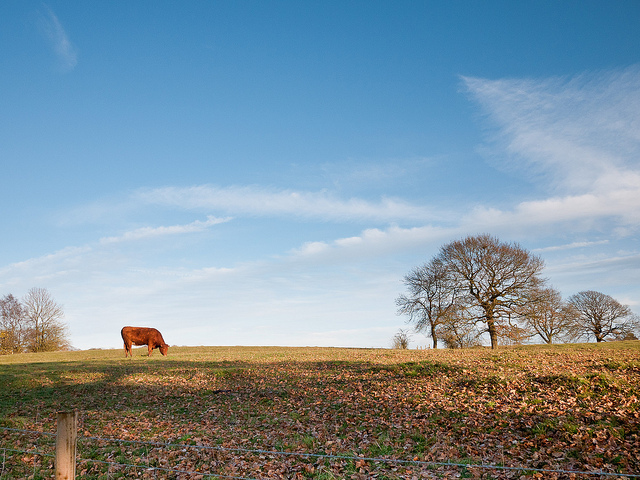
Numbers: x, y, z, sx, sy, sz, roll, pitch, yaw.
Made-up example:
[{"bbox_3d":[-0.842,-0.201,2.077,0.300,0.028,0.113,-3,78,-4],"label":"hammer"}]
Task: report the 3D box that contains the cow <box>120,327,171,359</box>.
[{"bbox_3d":[-17.436,10.083,48.353,3.145,2.890,3.842,-7,-12,11],"label":"cow"}]
